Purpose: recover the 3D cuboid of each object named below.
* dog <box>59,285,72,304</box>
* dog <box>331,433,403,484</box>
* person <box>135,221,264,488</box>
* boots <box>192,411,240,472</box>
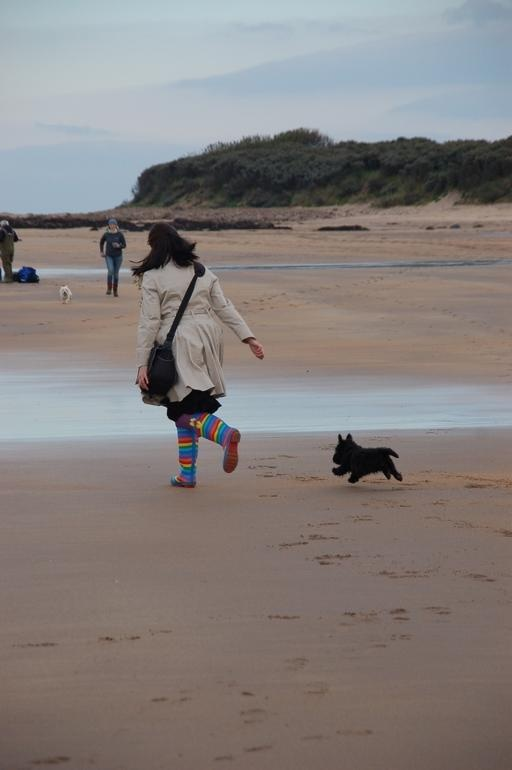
[{"bbox_3d":[-3.237,-1.562,19.531,0.172,0.363,0.661,1,8,-10],"label":"dog"},{"bbox_3d":[0.620,0.432,6.715,0.151,0.292,0.513,-1,-5,-40],"label":"dog"},{"bbox_3d":[-0.318,-0.125,6.260,0.668,1.510,0.639,0,6,1],"label":"person"},{"bbox_3d":[-0.241,0.335,6.189,0.245,0.351,0.420,-1,7,-4],"label":"boots"}]
